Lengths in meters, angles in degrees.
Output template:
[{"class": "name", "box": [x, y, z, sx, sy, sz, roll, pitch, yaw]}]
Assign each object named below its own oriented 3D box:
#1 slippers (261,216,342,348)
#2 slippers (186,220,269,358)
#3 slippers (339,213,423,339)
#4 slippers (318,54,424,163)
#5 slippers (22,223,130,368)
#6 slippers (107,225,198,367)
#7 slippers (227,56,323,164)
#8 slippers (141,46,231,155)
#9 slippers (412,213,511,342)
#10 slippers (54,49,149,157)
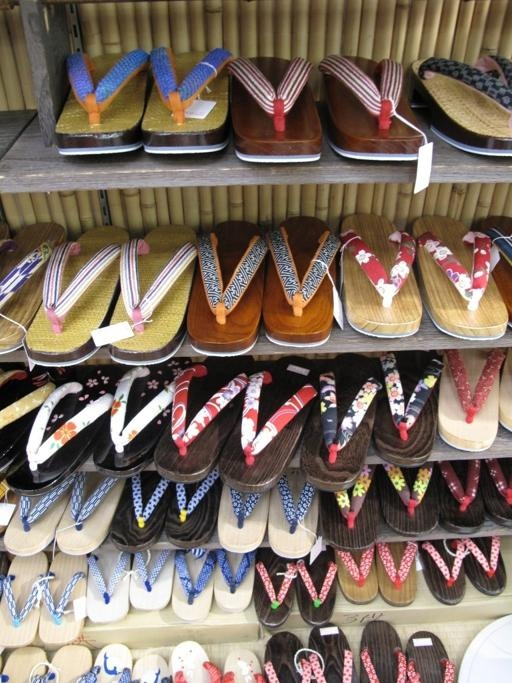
[{"class": "slippers", "box": [0.109, -0.181, 1.281, 0.172, 0.452, 0.116, 2, -47, 4]}, {"class": "slippers", "box": [-0.062, -0.130, 1.269, 0.145, 0.374, 0.098, 0, -44, 5]}, {"class": "slippers", "box": [0.311, -0.198, 1.330, 0.177, 0.460, 0.117, 2, -46, 2]}, {"class": "slippers", "box": [0.209, -0.491, 1.023, 0.146, 0.401, 0.115, -3, -46, -5]}, {"class": "slippers", "box": [-0.423, -0.168, 1.268, 0.179, 0.503, 0.141, 10, -48, -5]}, {"class": "slippers", "box": [-0.238, -0.137, 1.260, 0.134, 0.412, 0.108, -2, -46, 0]}, {"class": "slippers", "box": [0.037, -0.469, 0.999, 0.167, 0.374, 0.103, -5, -46, -2]}, {"class": "slippers", "box": [-0.122, -0.484, 0.998, 0.125, 0.322, 0.093, -1, -50, 2]}, {"class": "slippers", "box": [0.488, -0.180, 1.285, 0.149, 0.362, 0.093, -4, -49, 3]}, {"class": "slippers", "box": [-0.286, -0.442, 0.980, 0.116, 0.309, 0.078, 4, -56, -4]}]
